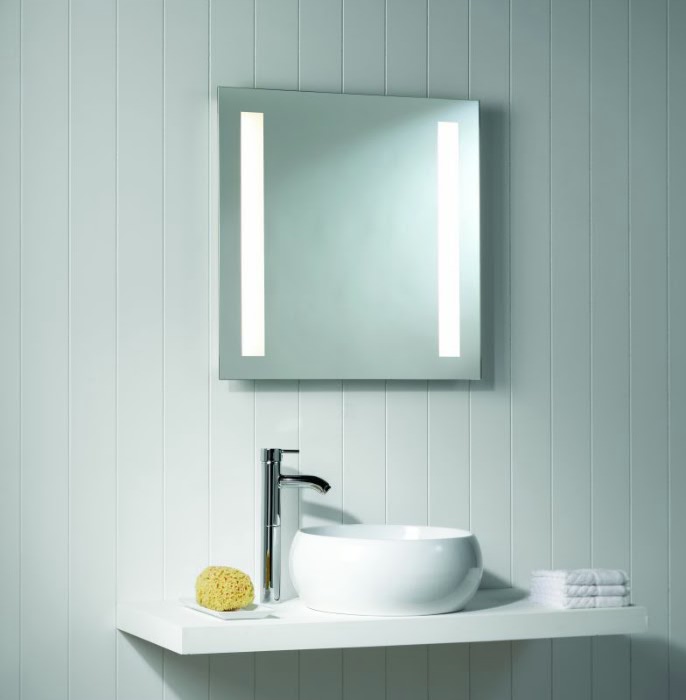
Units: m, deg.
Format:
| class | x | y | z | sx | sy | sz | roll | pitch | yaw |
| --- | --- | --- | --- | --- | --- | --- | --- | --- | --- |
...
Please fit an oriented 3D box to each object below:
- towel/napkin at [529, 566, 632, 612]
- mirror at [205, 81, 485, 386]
| class | x | y | z | sx | sy | sz | roll | pitch | yaw |
| --- | --- | --- | --- | --- | --- | --- | --- | --- | --- |
| towel/napkin | 0.476 | 0.460 | 1.651 | 0.207 | 0.076 | 0.132 | 2 | 0 | -9 |
| mirror | 0.014 | -0.243 | 1.794 | 0.556 | 0.740 | 0.006 | 1 | -28 | -3 |
